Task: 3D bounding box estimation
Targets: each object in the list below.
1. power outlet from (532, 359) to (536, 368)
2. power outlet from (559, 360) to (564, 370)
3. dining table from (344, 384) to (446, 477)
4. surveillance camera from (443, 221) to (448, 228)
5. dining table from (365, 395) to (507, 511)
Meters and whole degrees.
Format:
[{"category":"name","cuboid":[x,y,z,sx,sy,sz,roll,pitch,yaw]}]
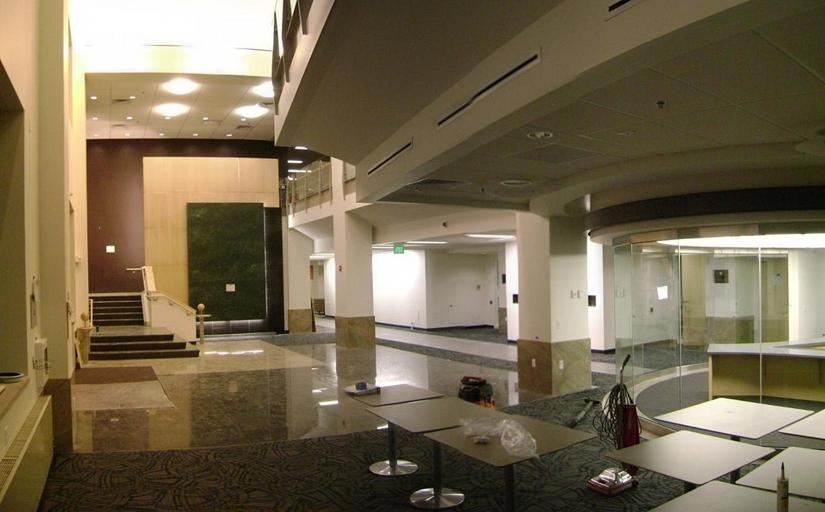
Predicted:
[{"category":"power outlet","cuboid":[2.530,2.229,11.591,0.006,0.177,0.122,-2,4,-40]},{"category":"power outlet","cuboid":[3.065,2.220,11.421,0.157,0.188,0.006,-1,3,-28]},{"category":"dining table","cuboid":[-0.231,2.472,8.451,1.255,1.011,1.497,-2,3,-28]},{"category":"surveillance camera","cuboid":[0.909,-0.853,15.433,0.031,0.121,0.133,4,1,-37]},{"category":"dining table","cuboid":[0.302,2.480,7.532,1.311,1.023,1.555,-2,1,-9]}]
